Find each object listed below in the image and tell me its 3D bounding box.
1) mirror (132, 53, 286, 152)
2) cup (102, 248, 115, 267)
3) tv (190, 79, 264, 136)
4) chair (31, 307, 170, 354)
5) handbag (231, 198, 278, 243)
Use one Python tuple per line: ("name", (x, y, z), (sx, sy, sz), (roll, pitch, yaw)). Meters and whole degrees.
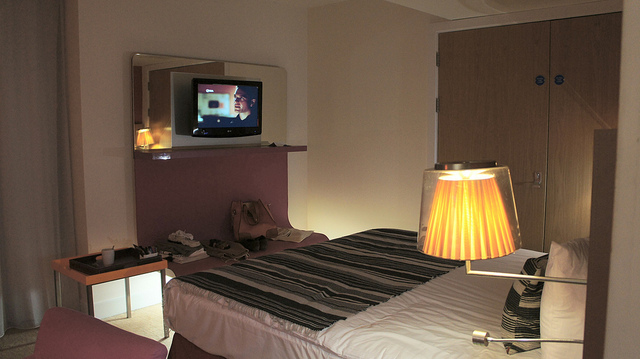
("mirror", (-1.176, -0.845, 5.222), (1.783, 1.008, 0.339), (-5, 8, -41))
("cup", (-1.881, 0.695, 4.103), (0.148, 0.196, 0.133), (1, -2, -26))
("tv", (-1.000, -0.791, 5.215), (0.967, 0.622, 0.107), (4, 7, 25))
("chair", (-1.381, 0.978, 2.862), (0.877, 0.252, 0.177), (1, 6, 19))
("handbag", (-0.795, 0.502, 5.459), (0.529, 0.443, 0.268), (-10, 5, -31))
